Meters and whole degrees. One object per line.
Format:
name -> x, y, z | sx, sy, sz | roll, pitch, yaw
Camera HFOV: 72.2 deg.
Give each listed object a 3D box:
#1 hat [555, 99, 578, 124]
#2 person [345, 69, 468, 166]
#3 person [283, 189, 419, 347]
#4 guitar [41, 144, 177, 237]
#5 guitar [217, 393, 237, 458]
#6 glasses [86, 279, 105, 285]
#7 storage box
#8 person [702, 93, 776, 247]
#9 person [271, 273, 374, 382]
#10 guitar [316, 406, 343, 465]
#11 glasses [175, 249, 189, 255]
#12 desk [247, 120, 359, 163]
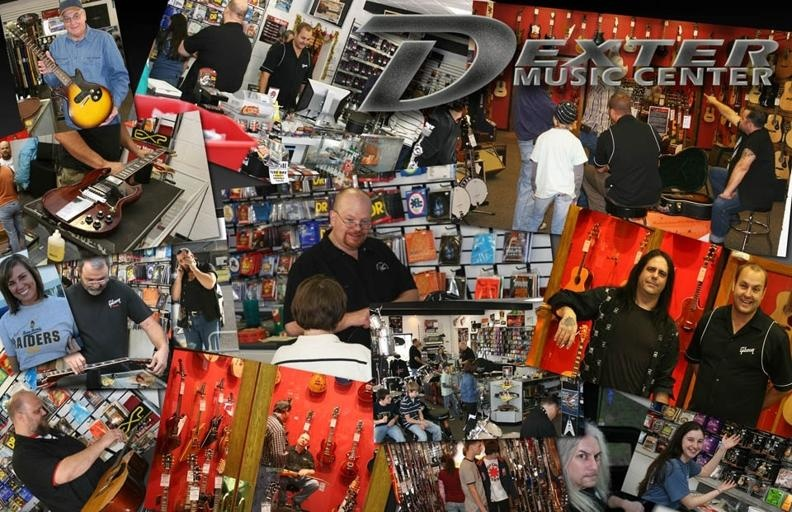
hat -> 1.296, -1.112, 4.201 | 0.139, 0.153, 0.172 | 0, 38, -5
person -> 0.133, -0.913, 4.002 | 0.837, 0.592, 0.428 | -4, 7, 14
person -> -0.323, 0.077, 4.406 | 1.061, 1.647, 0.860 | -8, 8, -23
guitar -> -2.448, -0.579, 4.798 | 0.546, 0.157, 1.178 | 34, 62, 18
guitar -> -1.506, 1.484, 4.759 | 0.104, 0.583, 0.056 | 9, 8, -1
glasses -> -2.655, 0.225, 4.740 | 0.150, 0.017, 0.042 | -1, -34, -1
storage box -> -1.733, -0.984, 4.684 | 0.893, 0.284, 0.617 | 33, 17, 4
person -> 2.739, -0.731, 4.289 | 0.536, 1.021, 0.660 | 10, 41, 30
person -> -0.575, 0.556, 4.455 | 0.803, 0.754, 0.381 | 4, 22, 2
guitar -> -0.563, 1.519, 4.553 | 0.150, 0.543, 0.041 | 9, 8, -4
glasses -> -1.853, -0.028, 4.684 | 0.064, 0.045, 0.056 | 0, -1, 25
desk -> -0.764, -0.961, 4.454 | 0.583, 0.186, 0.411 | 15, 20, 32
